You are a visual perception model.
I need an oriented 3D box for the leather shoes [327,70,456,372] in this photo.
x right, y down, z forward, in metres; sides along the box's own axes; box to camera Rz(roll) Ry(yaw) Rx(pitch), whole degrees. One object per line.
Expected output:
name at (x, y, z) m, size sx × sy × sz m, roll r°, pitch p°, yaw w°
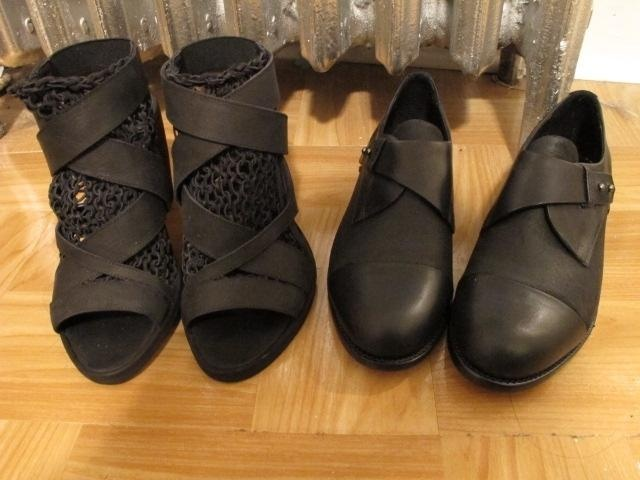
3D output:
leather shoes at (0.155, -0.060, 0.955) m, size 0.200 × 0.179 × 0.549 m, roll 7°, pitch 55°, yaw 13°

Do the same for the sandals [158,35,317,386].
sandals at (-0.131, -0.099, 0.863) m, size 0.231 × 0.261 × 0.599 m, roll -4°, pitch 53°, yaw -3°

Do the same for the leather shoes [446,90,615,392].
leather shoes at (0.402, -0.023, 0.905) m, size 0.216 × 0.144 × 0.589 m, roll 14°, pitch 57°, yaw 31°
